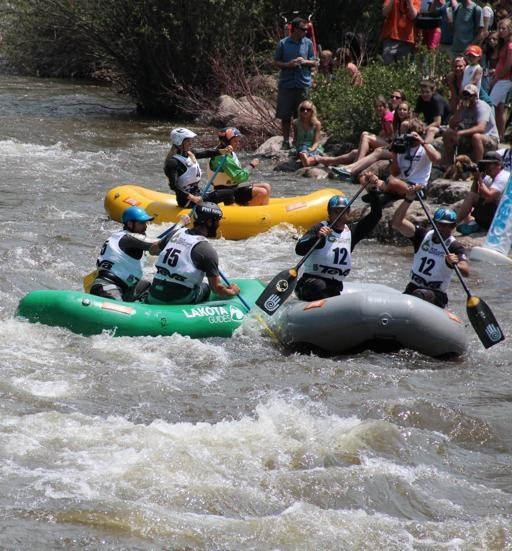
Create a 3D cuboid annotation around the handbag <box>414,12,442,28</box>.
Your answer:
[{"bbox_3d":[3.373,-4.998,14.842,0.551,0.279,0.368,5,14,-3],"label":"handbag"}]

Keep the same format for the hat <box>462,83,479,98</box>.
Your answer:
[{"bbox_3d":[3.015,-2.593,10.642,0.185,0.102,0.257,6,-11,32],"label":"hat"}]

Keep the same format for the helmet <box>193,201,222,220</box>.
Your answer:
[{"bbox_3d":[-0.437,-0.591,6.891,0.255,0.137,0.154,-8,10,2],"label":"helmet"}]

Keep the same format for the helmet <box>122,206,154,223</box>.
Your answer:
[{"bbox_3d":[-1.125,-0.563,7.148,0.277,0.096,0.157,1,4,7],"label":"helmet"}]
